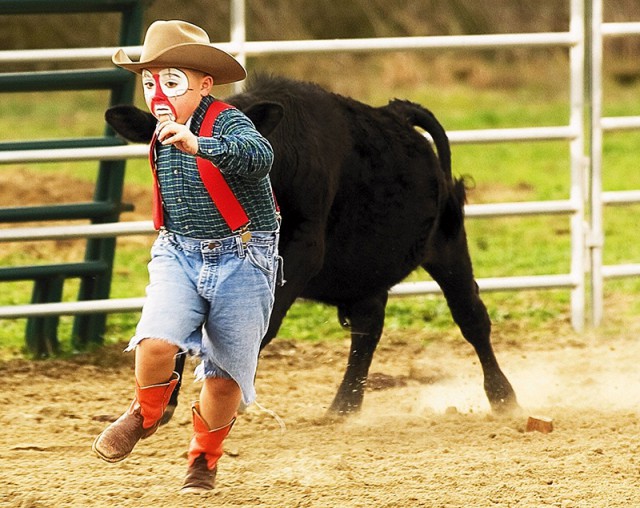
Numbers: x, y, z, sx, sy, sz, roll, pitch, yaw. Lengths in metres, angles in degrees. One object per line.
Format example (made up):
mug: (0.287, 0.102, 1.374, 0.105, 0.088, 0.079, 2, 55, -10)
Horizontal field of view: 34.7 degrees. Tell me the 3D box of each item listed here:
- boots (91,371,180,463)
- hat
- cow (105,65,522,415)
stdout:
boots: (-0.705, 0.602, 3.853, 0.154, 0.259, 0.423, 26, 19, 12)
hat: (-0.553, -0.758, 3.889, 0.539, 0.150, 0.406, 2, -4, -12)
cow: (-0.035, 0.027, 4.674, 1.080, 1.434, 2.580, -2, -3, 36)
